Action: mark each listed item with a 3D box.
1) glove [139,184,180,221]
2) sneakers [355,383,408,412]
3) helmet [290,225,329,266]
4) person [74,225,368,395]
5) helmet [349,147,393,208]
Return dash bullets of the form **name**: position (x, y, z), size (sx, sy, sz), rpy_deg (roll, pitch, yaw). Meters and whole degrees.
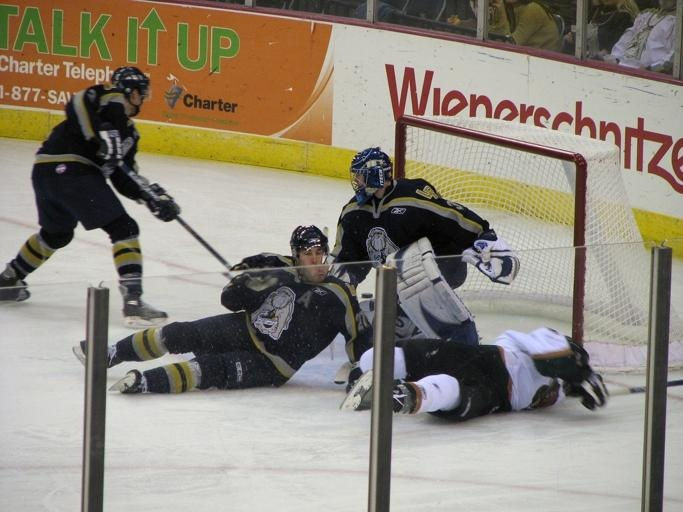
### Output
- **glove**: position (-0.936, -0.263, 6.872), size (0.231, 0.082, 0.134), rpy_deg (31, 19, -27)
- **sneakers**: position (0.156, 0.515, 4.785), size (0.209, 0.108, 0.117), rpy_deg (4, 3, -1)
- **helmet**: position (-0.148, -0.047, 5.660), size (0.183, 0.170, 0.215), rpy_deg (-6, 5, -3)
- **person**: position (-0.419, 0.199, 4.770), size (1.040, 0.519, 0.624), rpy_deg (-6, 30, -27)
- **helmet**: position (0.148, -0.379, 6.105), size (0.227, 0.229, 0.204), rpy_deg (-9, 6, -13)
